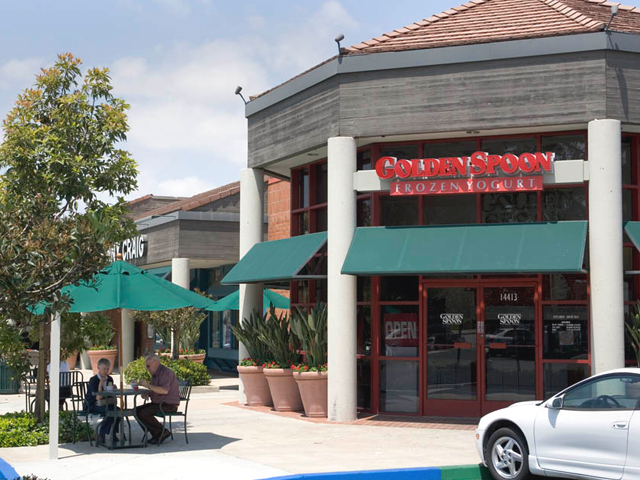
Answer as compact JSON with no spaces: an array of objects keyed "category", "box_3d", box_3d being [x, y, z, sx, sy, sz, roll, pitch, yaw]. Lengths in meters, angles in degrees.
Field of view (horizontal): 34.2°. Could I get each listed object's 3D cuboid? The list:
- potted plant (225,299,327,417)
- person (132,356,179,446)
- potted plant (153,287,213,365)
[{"category":"potted plant","box_3d":[-1.043,3.081,26.894,1.469,2.362,2.577,7,-14,-28]},{"category":"person","box_3d":[-3.373,3.306,21.685,0.861,1.860,0.599,0,-10,-11]},{"category":"potted plant","box_3d":[-4.655,3.001,35.698,1.736,2.511,2.303,5,25,21]}]
